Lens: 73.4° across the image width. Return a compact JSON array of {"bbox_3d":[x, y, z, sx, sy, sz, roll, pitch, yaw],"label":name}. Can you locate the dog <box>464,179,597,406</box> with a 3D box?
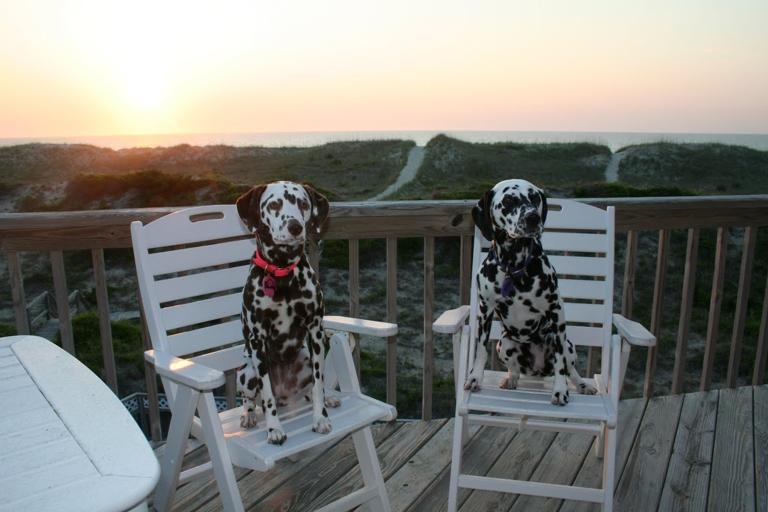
[{"bbox_3d":[0.919,0.266,3.135,0.829,1.386,1.175,-6,-17,31],"label":"dog"}]

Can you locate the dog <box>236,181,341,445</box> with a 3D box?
[{"bbox_3d":[-0.477,0.241,2.568,0.585,1.209,0.545,-8,12,-24],"label":"dog"}]
